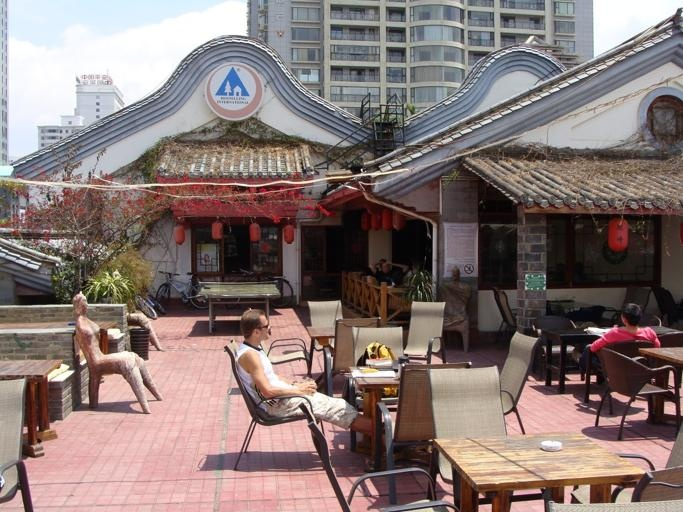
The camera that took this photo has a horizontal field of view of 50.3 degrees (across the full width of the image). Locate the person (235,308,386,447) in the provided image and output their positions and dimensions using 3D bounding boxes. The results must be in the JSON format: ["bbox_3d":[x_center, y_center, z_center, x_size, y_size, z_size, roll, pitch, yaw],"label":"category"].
[{"bbox_3d":[-0.371,1.451,9.082,1.800,1.515,0.781,1,1,-2],"label":"person"}]

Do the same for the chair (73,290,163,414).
[{"bbox_3d":[-3.361,1.396,10.959,1.178,1.694,0.648,2,9,17],"label":"chair"}]

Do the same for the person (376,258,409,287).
[{"bbox_3d":[1.161,0.404,17.659,0.725,0.830,0.502,1,6,22],"label":"person"}]

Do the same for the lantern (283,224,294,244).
[{"bbox_3d":[-1.481,-0.630,20.280,0.396,0.768,0.445,-1,2,-3],"label":"lantern"}]
